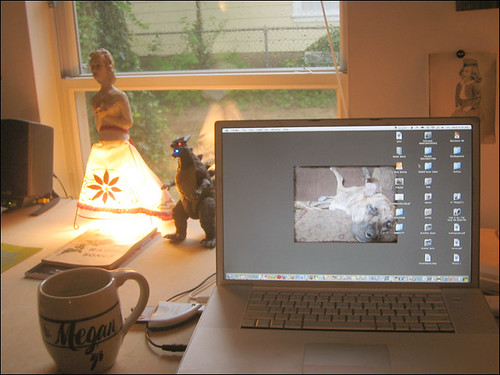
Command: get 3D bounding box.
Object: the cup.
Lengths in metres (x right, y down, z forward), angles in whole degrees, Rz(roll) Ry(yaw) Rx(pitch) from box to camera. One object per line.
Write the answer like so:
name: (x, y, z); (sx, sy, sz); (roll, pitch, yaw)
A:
cup: (-0.282, 0.244, 0.713); (0.179, 0.178, 0.089); (1, 9, 4)

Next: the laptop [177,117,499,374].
laptop: (0.174, 0.088, 0.745); (0.572, 0.441, 0.245); (1, 9, 4)
